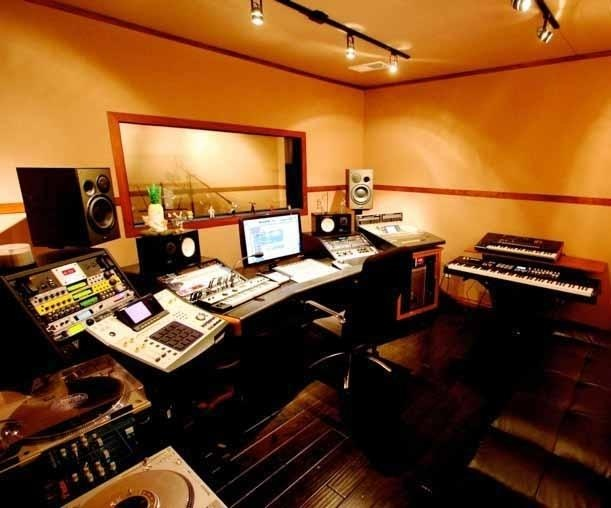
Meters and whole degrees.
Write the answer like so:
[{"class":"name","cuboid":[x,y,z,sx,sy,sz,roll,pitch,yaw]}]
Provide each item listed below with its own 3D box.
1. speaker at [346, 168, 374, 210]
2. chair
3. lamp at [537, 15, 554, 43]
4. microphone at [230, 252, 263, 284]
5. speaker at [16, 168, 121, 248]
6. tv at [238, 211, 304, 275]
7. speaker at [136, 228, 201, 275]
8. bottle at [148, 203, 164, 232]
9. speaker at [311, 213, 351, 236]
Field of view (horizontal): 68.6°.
[{"class":"speaker","cuboid":[0.644,-0.777,5.191,0.292,0.473,0.288,2,18,18]},{"class":"chair","cuboid":[0.417,0.467,3.751,0.687,1.189,0.776,19,30,36]},{"class":"lamp","cuboid":[1.812,-1.715,3.384,0.090,0.271,0.070,14,58,23]},{"class":"microphone","cuboid":[-0.508,0.146,3.911,0.229,0.221,0.682,-4,20,-6]},{"class":"speaker","cuboid":[-1.533,-0.307,2.900,0.540,0.502,0.367,-10,20,-22]},{"class":"tv","cuboid":[-0.301,-0.091,3.965,0.067,0.366,0.504,3,15,44]},{"class":"speaker","cuboid":[-1.018,-0.055,3.435,0.210,0.261,0.382,11,14,29]},{"class":"bottle","cuboid":[-1.126,-0.281,3.372,0.120,0.175,0.247,-8,20,-18]},{"class":"speaker","cuboid":[0.260,-0.317,4.634,0.392,0.264,0.222,-1,3,-14]}]
